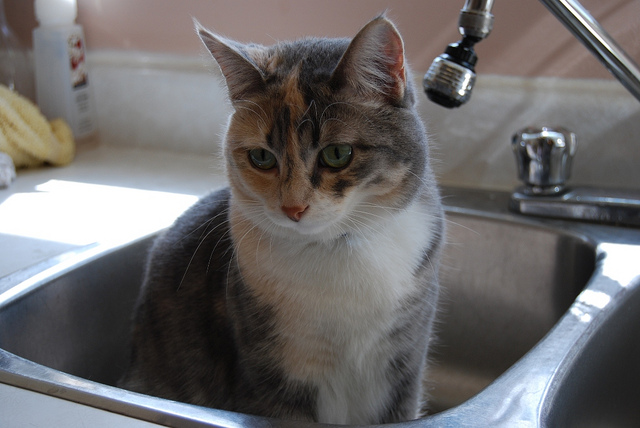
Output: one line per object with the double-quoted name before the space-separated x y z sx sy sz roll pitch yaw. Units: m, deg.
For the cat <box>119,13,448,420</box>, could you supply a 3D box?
"cat" -0.061 0.022 1.194 0.623 0.840 0.295 14 14 21
